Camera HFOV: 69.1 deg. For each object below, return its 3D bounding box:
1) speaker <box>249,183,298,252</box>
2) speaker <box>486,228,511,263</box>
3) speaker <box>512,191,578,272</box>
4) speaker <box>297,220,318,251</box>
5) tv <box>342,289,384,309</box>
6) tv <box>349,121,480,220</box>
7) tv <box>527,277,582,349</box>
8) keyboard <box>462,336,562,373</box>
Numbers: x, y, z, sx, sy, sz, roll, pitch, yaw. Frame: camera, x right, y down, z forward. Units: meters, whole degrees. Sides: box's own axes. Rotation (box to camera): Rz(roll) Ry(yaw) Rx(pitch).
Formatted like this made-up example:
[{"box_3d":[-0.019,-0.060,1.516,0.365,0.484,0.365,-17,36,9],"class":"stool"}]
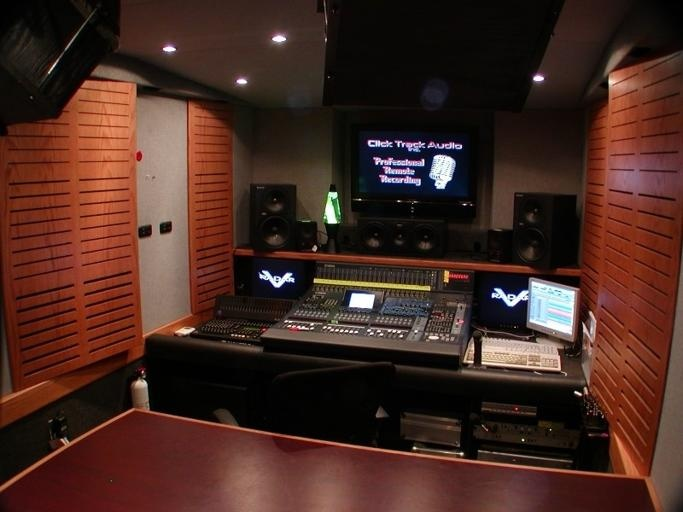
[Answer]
[{"box_3d":[-0.548,-0.345,4.006,0.366,0.542,0.359,-1,18,-10],"class":"speaker"},{"box_3d":[1.166,-0.072,3.636,0.193,0.220,0.156,1,3,-44],"class":"speaker"},{"box_3d":[1.437,-0.190,3.483,0.429,0.515,0.287,-5,9,-35],"class":"speaker"},{"box_3d":[-0.265,-0.154,3.877,0.184,0.287,0.200,0,-1,0],"class":"speaker"},{"box_3d":[0.153,0.304,3.458,0.276,0.084,0.210,1,13,1],"class":"tv"},{"box_3d":[0.626,-0.704,3.964,0.734,0.589,0.104,3,2,11],"class":"tv"},{"box_3d":[1.370,0.382,3.198,0.161,0.414,0.382,-4,7,-36],"class":"tv"},{"box_3d":[1.083,0.603,3.021,0.442,0.060,0.350,4,14,15],"class":"keyboard"}]
